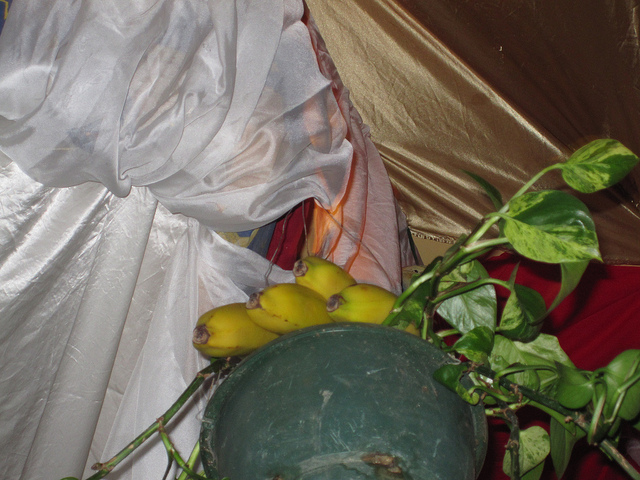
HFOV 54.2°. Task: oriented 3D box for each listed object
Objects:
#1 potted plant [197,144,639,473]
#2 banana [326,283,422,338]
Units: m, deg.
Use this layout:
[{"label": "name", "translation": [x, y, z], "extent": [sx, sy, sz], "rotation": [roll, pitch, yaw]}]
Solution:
[{"label": "potted plant", "translation": [0.096, 0.071, 0.751], "extent": [0.360, 0.428, 0.166], "rotation": [-12, 27, 0]}, {"label": "banana", "translation": [0.054, 0.075, 0.732], "extent": [0.092, 0.052, 0.044], "rotation": [9, 6, -36]}]
